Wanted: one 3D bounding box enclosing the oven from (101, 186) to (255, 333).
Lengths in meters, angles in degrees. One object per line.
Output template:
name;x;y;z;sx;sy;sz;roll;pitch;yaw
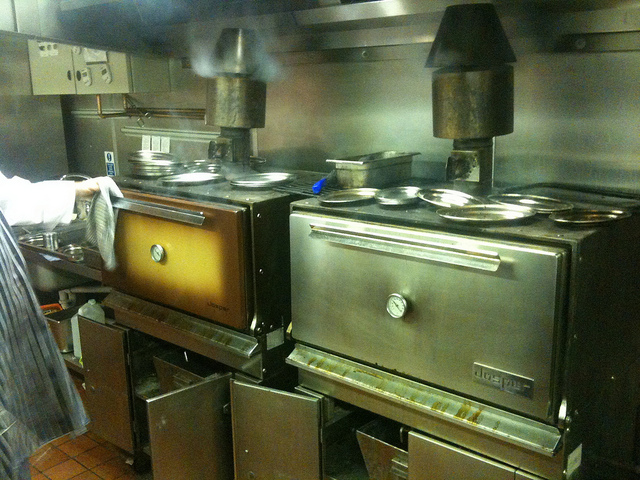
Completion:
oven;-0.549;0.028;2.846;1.059;0.592;0.688;14;17;40

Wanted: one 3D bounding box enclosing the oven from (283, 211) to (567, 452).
oven;0.432;0.102;2.093;1.323;0.749;0.749;6;9;39

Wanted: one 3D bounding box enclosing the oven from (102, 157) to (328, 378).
oven;-0.471;0.094;2.938;1.095;0.758;0.853;12;16;43

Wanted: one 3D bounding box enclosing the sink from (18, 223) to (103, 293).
sink;-1.554;0.115;3.411;0.545;0.212;0.683;-6;8;-36
